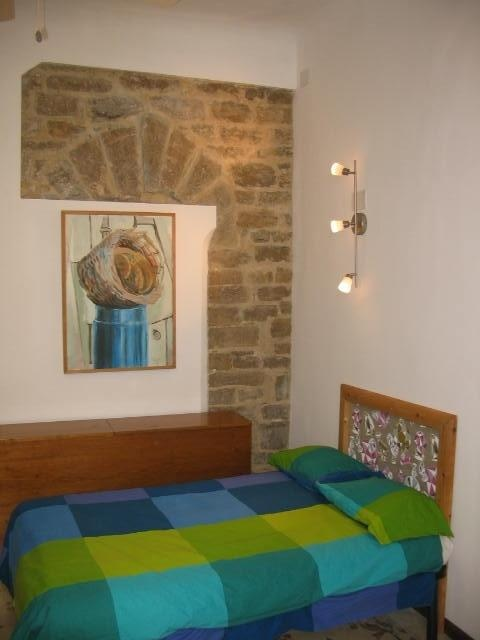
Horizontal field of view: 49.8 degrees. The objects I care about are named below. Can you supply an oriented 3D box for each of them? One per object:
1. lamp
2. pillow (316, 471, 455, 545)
[{"bbox_3d":[0.607,-0.543,2.994,0.140,0.740,0.115,3,17,22],"label":"lamp"},{"bbox_3d":[0.649,0.843,2.386,0.368,0.166,0.568,1,0,-19],"label":"pillow"}]
